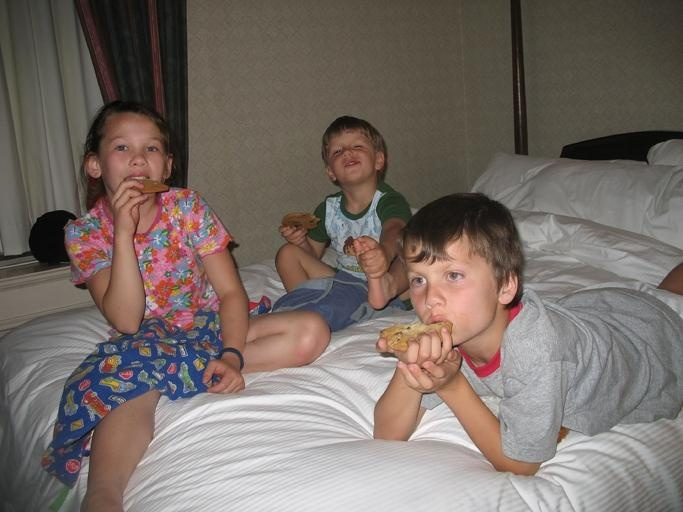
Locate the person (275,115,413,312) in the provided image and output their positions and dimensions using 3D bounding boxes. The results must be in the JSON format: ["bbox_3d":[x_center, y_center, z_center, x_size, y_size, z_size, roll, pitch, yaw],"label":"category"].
[{"bbox_3d":[0.048,-0.160,2.054,0.610,0.773,0.569,7,17,36],"label":"person"}]

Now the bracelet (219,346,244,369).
[{"bbox_3d":[-0.329,0.295,1.522,0.065,0.018,0.066,-3,23,-24],"label":"bracelet"}]

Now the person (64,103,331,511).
[{"bbox_3d":[-0.562,0.061,1.709,0.806,0.798,1.099,-16,48,-37],"label":"person"}]

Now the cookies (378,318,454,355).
[{"bbox_3d":[0.162,0.186,1.176,0.161,0.072,0.104,5,16,29],"label":"cookies"}]
